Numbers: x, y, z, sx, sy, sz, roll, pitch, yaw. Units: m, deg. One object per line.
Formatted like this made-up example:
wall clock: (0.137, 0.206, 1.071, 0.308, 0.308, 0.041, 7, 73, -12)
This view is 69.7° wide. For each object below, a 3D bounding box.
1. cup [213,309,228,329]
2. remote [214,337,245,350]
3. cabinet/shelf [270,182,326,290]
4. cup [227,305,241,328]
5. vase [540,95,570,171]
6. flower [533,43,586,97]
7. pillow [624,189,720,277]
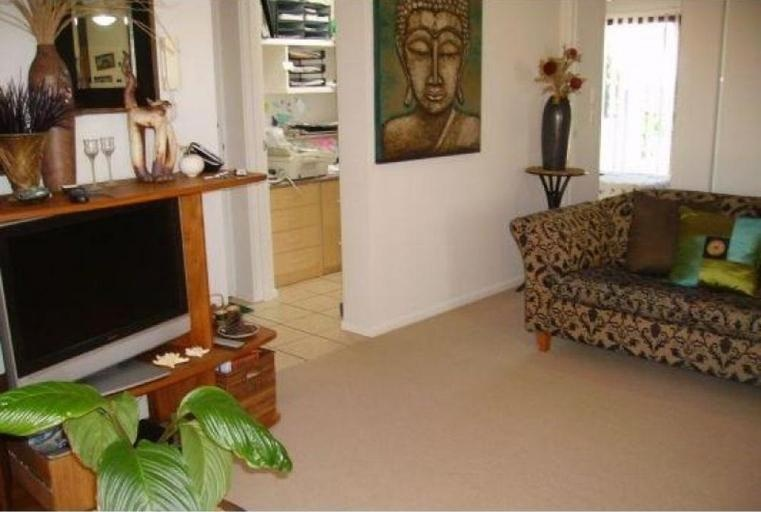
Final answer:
cup: (-0.864, 0.334, 2.905, 0.099, 0.104, 0.096, 1, 2, 0)
remote: (-0.768, 0.432, 2.725, 0.117, 0.015, 0.063, 5, 11, 18)
cabinet/shelf: (-0.959, -0.238, 5.228, 0.732, 0.938, 0.655, -8, 20, -21)
cup: (-0.787, 0.319, 2.922, 0.092, 0.140, 0.092, 1, -1, 0)
vase: (1.506, -1.059, 4.689, 0.221, 0.620, 0.224, 1, 17, 11)
flower: (1.525, -1.529, 4.650, 0.376, 0.318, 0.310, -1, -8, -10)
pillow: (1.988, -0.257, 3.730, 0.132, 0.524, 0.561, -38, 44, -25)
